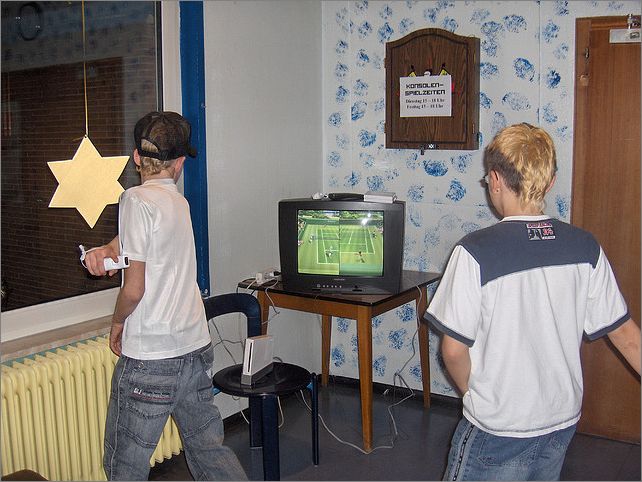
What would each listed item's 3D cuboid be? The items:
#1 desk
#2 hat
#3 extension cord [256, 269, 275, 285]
[{"bbox_3d":[0.181,0.505,3.715,1.128,1.208,1.169,2,4,38],"label":"desk"},{"bbox_3d":[-0.679,-0.488,2.263,0.205,0.220,0.349,12,19,9],"label":"hat"},{"bbox_3d":[-0.379,0.240,3.547,0.070,0.051,0.128,2,5,23],"label":"extension cord"}]
